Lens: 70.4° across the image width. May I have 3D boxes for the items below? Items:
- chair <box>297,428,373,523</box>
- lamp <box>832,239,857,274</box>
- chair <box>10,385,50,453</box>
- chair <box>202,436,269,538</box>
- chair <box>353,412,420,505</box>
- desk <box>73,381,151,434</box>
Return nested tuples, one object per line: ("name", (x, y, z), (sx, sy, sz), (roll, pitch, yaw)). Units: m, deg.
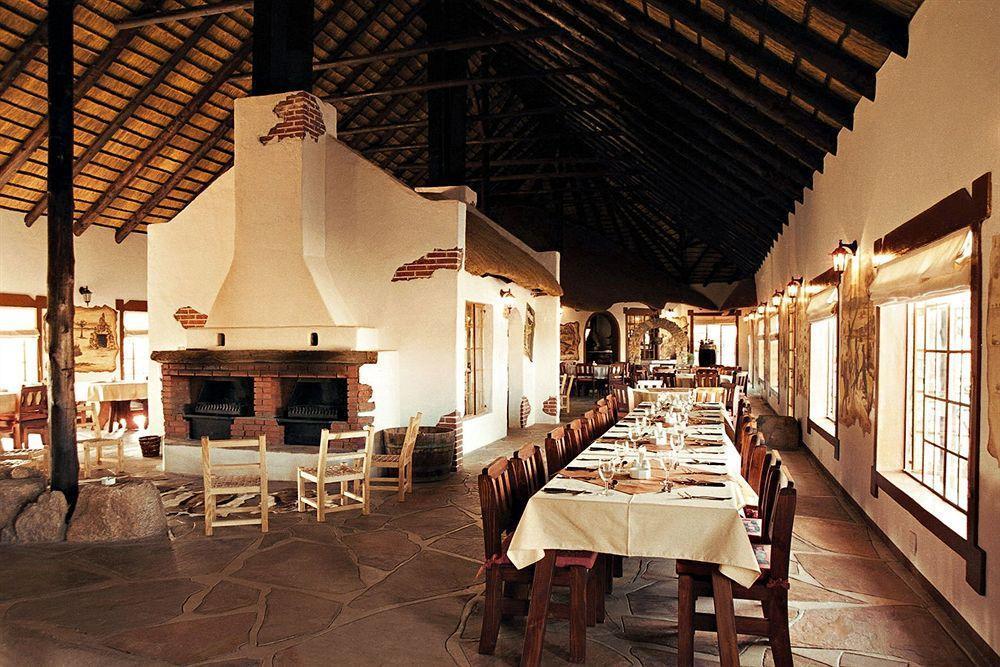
("chair", (-2.138, 1.755, 9.135), (0.925, 1.137, 0.932), (-1, -1, 23))
("lamp", (4.450, -1.008, 9.250), (0.341, 0.641, 0.309), (5, 6, 24))
("chair", (-8.680, 1.515, 13.029), (0.599, 1.170, 0.758), (-5, 11, -25))
("chair", (-3.326, 1.846, 8.834), (0.992, 1.137, 0.922), (-3, -3, 15))
("chair", (-1.525, 1.678, 10.119), (1.008, 1.537, 0.860), (2, 1, 5))
("desk", (-8.110, 1.519, 14.967), (1.414, 0.921, 1.452), (0, -2, -7))
